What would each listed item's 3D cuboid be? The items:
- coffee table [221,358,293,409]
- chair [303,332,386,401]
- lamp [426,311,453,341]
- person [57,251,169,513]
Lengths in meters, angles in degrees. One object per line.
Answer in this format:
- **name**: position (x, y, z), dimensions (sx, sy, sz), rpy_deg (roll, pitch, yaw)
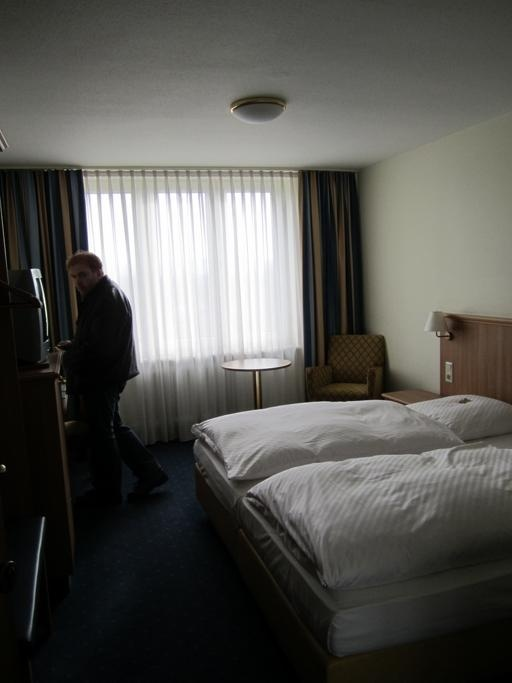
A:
- **coffee table**: position (-0.013, 0.231, 4.538), dimensions (0.451, 0.566, 0.495), rpy_deg (1, 20, 7)
- **chair**: position (0.835, 0.254, 4.896), dimensions (0.685, 0.568, 0.816), rpy_deg (0, 6, 23)
- **lamp**: position (1.402, -0.121, 3.905), dimensions (0.214, 0.207, 0.163), rpy_deg (5, -4, -30)
- **person**: position (-1.026, 0.234, 3.580), dimensions (0.609, 1.698, 0.527), rpy_deg (-4, 6, -24)
